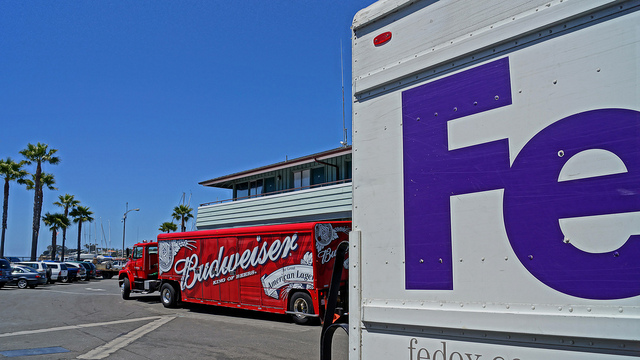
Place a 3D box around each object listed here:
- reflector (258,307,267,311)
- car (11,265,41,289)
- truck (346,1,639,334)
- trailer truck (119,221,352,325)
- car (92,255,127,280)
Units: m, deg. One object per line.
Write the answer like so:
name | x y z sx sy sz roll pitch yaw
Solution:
reflector | -1.791 4.006 13.547 0.156 0.037 0.151 -2 -7 29
car | -19.134 6.281 28.225 1.878 1.462 0.886 -2 -9 13
truck | 1.593 -0.271 4.141 2.480 3.551 0.428 -3 -9 20
trailer truck | -3.817 3.092 17.405 14.058 3.790 3.392 -4 -10 39
car | -21.321 8.595 43.263 1.904 1.703 3.201 18 -17 -5
